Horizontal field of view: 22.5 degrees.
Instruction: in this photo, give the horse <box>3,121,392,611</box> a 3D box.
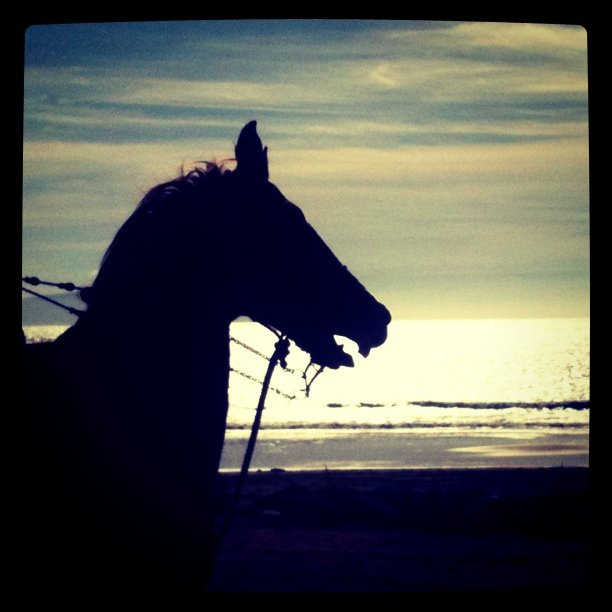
[{"bbox_3d":[-0.326,0.163,4.038,0.896,1.291,0.386,7,8,1],"label":"horse"}]
